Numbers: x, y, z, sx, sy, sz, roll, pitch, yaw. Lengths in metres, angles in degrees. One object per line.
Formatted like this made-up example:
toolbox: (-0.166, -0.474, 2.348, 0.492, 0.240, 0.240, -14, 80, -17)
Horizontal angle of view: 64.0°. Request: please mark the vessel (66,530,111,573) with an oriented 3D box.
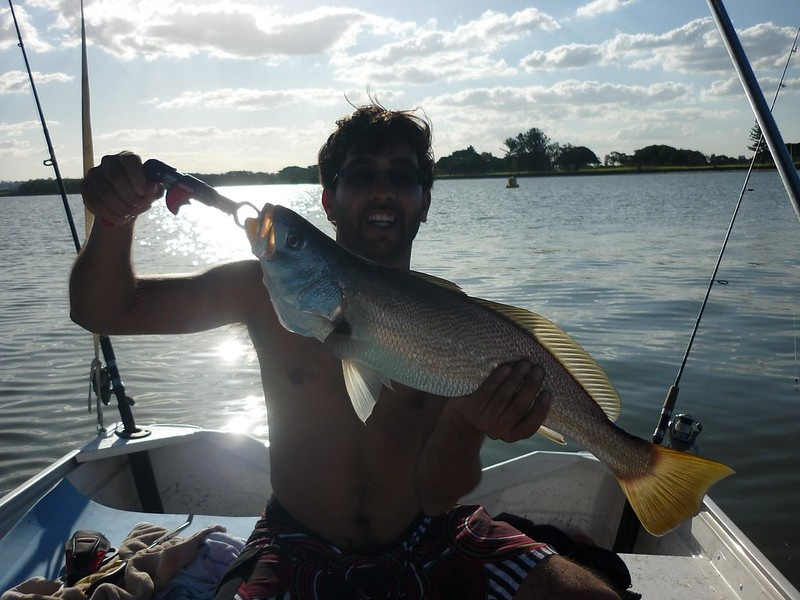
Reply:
vessel: (-2.148, 1.701, 4.388, 0.207, 0.257, 0.225, 2, 21, -2)
